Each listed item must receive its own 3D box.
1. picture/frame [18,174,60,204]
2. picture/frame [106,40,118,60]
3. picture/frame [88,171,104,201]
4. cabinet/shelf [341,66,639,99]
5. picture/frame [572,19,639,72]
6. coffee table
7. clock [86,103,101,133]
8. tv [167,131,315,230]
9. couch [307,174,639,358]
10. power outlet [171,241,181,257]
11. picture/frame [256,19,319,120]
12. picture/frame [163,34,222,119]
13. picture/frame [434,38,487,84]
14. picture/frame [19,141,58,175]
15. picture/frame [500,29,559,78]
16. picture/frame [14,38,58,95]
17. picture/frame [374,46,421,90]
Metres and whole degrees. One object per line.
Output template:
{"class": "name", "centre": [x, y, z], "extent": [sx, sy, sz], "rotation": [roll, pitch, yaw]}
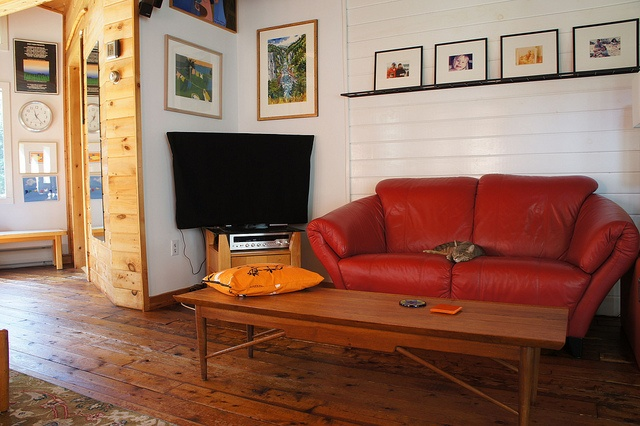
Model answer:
{"class": "picture/frame", "centre": [-4.037, -0.352, 6.304], "extent": [0.502, 0.385, 0.045], "rotation": [-2, 7, -31]}
{"class": "picture/frame", "centre": [-2.033, -1.584, 4.335], "extent": [0.174, 0.175, 0.065], "rotation": [6, 17, 28]}
{"class": "picture/frame", "centre": [-2.496, -0.296, 4.919], "extent": [0.076, 0.254, 0.315], "rotation": [-4, 8, -44]}
{"class": "cabinet/shelf", "centre": [1.563, -1.246, 4.318], "extent": [2.606, 0.195, 0.119], "rotation": [3, 15, 17]}
{"class": "picture/frame", "centre": [2.561, -1.480, 3.964], "extent": [0.617, 0.428, 0.023], "rotation": [1, -1, 22]}
{"class": "coffee table", "centre": [0.351, 0.762, 2.833], "extent": [2.098, 0.478, 0.690], "rotation": [5, 15, 23]}
{"class": "clock", "centre": [-2.539, -1.060, 4.959], "extent": [0.069, 0.411, 0.490], "rotation": [0, 0, -38]}
{"class": "tv", "centre": [-0.884, -0.336, 4.558], "extent": [1.264, 0.689, 0.082], "rotation": [-1, 8, -14]}
{"class": "couch", "centre": [1.261, 0.397, 3.391], "extent": [1.637, 0.658, 0.685], "rotation": [1, 9, 24]}
{"class": "power outlet", "centre": [-1.508, 0.350, 4.588], "extent": [0.031, 0.162, 0.117], "rotation": [6, 16, 26]}
{"class": "picture/frame", "centre": [-0.379, -1.583, 4.991], "extent": [0.740, 1.047, 0.343], "rotation": [1, 15, 10]}
{"class": "picture/frame", "centre": [-1.355, -1.423, 4.740], "extent": [0.186, 0.811, 0.833], "rotation": [7, 16, 27]}
{"class": "picture/frame", "centre": [1.388, -1.473, 4.346], "extent": [0.581, 0.375, 0.026], "rotation": [0, -3, 25]}
{"class": "picture/frame", "centre": [-4.023, -0.782, 6.270], "extent": [0.581, 0.453, 0.054], "rotation": [2, -1, -25]}
{"class": "picture/frame", "centre": [1.977, -1.480, 4.158], "extent": [0.595, 0.412, 0.022], "rotation": [-1, -1, 22]}
{"class": "picture/frame", "centre": [-4.036, -2.049, 6.287], "extent": [0.569, 0.727, 0.197], "rotation": [-7, 16, -22]}
{"class": "picture/frame", "centre": [0.806, -1.475, 4.557], "extent": [0.580, 0.404, 0.044], "rotation": [1, 2, 28]}
